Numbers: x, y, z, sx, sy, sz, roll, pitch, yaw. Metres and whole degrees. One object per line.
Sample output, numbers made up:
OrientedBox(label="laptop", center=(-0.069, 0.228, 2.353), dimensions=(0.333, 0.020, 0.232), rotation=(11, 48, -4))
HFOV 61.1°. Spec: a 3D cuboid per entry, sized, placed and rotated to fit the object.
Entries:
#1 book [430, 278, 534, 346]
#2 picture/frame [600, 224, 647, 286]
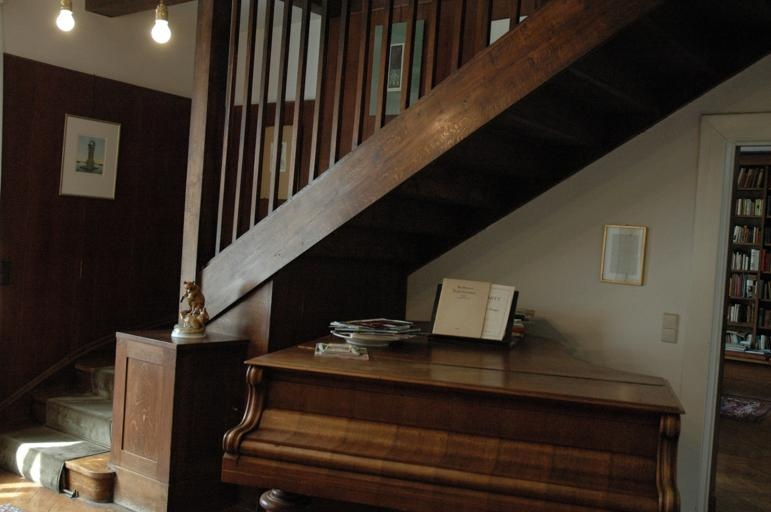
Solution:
OrientedBox(label="book", center=(0.599, 0.361, 4.206), dimensions=(0.549, 0.410, 0.132), rotation=(7, -3, 7))
OrientedBox(label="picture/frame", center=(1.807, -0.008, 4.914), dimensions=(0.399, 0.584, 0.074), rotation=(4, -3, 30))
